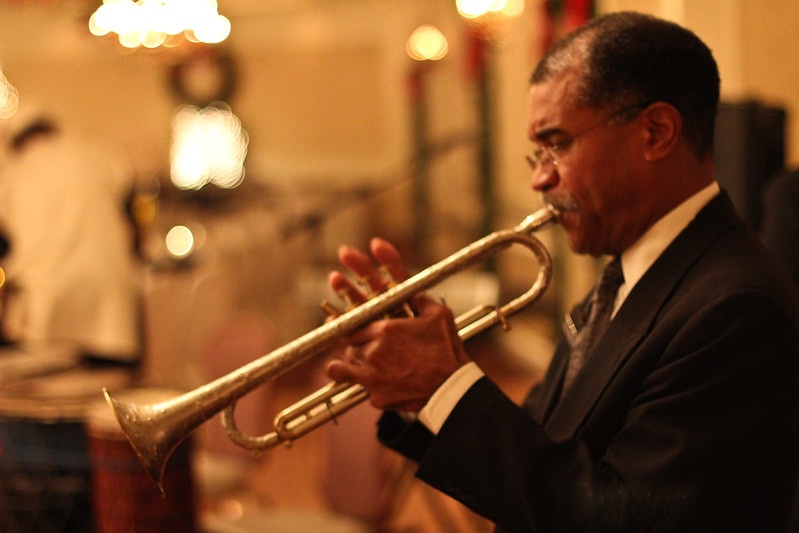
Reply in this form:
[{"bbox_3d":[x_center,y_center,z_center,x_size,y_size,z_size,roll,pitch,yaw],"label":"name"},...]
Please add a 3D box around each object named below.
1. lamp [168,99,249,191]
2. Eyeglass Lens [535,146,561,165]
[{"bbox_3d":[-1.303,-0.799,5.397,0.644,0.615,0.220,2,2,1],"label":"lamp"},{"bbox_3d":[0.450,-0.339,2.439,0.066,0.042,0.082,-3,-3,5],"label":"Eyeglass Lens"}]
